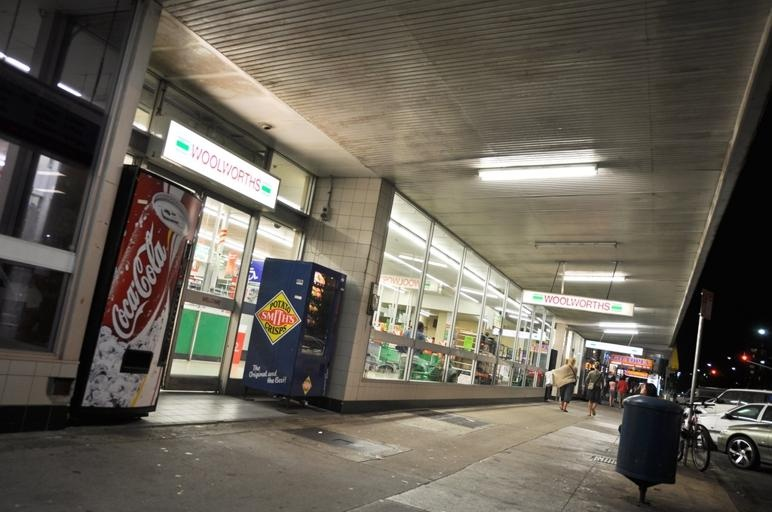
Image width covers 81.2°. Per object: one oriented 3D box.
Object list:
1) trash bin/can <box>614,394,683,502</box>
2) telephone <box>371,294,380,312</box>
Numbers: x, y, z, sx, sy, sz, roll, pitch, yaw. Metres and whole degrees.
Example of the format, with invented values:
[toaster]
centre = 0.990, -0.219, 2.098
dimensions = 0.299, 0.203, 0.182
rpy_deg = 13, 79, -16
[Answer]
[trash bin/can]
centre = 3.761, 2.664, 6.562
dimensions = 0.729, 1.198, 0.355
rpy_deg = 5, -12, 29
[telephone]
centre = -0.280, 1.079, 10.585
dimensions = 0.081, 0.312, 0.256
rpy_deg = 2, -5, 31
